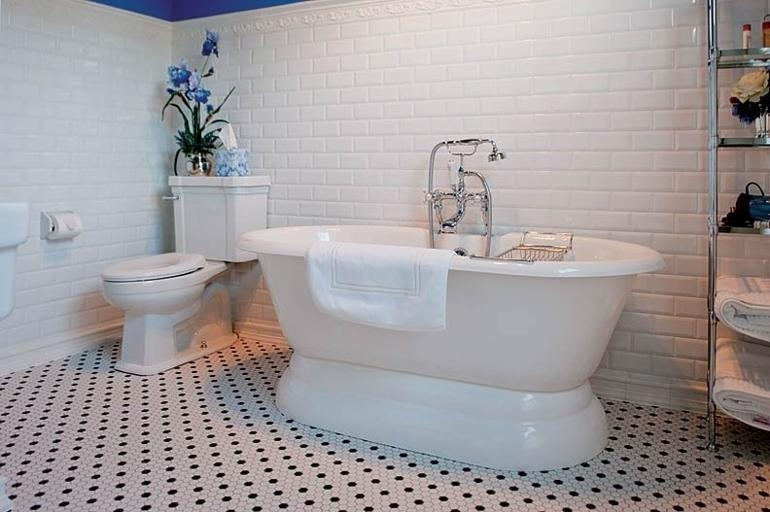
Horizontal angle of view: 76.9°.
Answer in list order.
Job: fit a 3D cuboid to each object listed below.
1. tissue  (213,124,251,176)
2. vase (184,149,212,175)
[{"bbox_3d":[-1.188,-0.812,3.797,0.297,0.367,0.290,-3,16,10],"label":"tissue "},{"bbox_3d":[-1.504,-0.739,3.904,0.159,0.187,0.153,10,18,35],"label":"vase"}]
